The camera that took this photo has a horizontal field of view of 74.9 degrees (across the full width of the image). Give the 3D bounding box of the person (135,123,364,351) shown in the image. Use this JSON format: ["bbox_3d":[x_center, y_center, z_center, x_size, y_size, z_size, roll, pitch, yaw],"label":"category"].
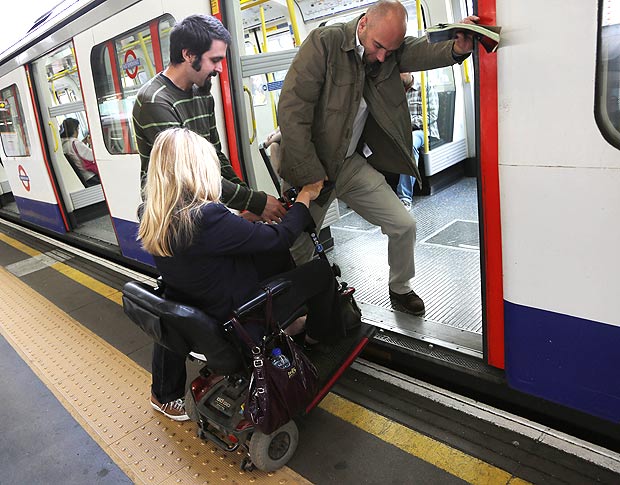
[{"bbox_3d":[-0.328,0.077,2.330,0.538,1.536,1.069,10,26,40],"label":"person"}]

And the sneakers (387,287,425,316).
[{"bbox_3d":[0.760,0.470,3.209,0.124,0.123,0.317,-22,17,-20],"label":"sneakers"}]

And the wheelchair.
[{"bbox_3d":[-0.234,0.463,2.609,1.093,1.136,1.502,-1,29,38],"label":"wheelchair"}]

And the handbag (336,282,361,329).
[{"bbox_3d":[0.256,0.432,2.737,0.147,0.321,0.186,-13,23,-5],"label":"handbag"}]

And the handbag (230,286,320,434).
[{"bbox_3d":[-0.191,0.553,2.038,0.417,0.650,0.267,-22,24,-34],"label":"handbag"}]

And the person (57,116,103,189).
[{"bbox_3d":[-3.797,-1.597,6.784,0.529,0.947,0.561,-10,27,0],"label":"person"}]
